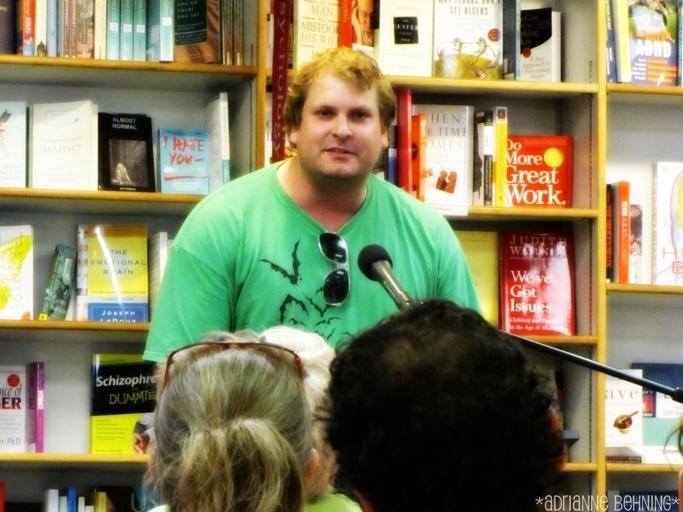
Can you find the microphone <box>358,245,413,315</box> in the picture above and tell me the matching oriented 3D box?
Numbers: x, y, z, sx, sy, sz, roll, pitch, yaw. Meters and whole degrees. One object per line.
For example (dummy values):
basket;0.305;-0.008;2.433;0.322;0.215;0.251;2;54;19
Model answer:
microphone;0.117;0.057;3.001;0.135;0.160;0.270;-1;4;-2
